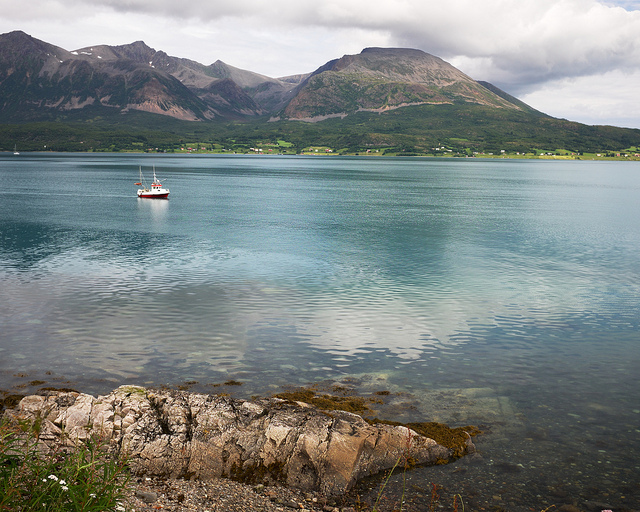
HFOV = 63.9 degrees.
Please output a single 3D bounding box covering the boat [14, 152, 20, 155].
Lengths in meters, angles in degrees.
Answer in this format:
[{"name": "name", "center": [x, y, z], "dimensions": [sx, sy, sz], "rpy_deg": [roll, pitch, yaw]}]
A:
[{"name": "boat", "center": [-277.664, -94.174, 468.836], "dimensions": [3.563, 2.774, 45.847], "rpy_deg": [-6, 12, -29]}]
